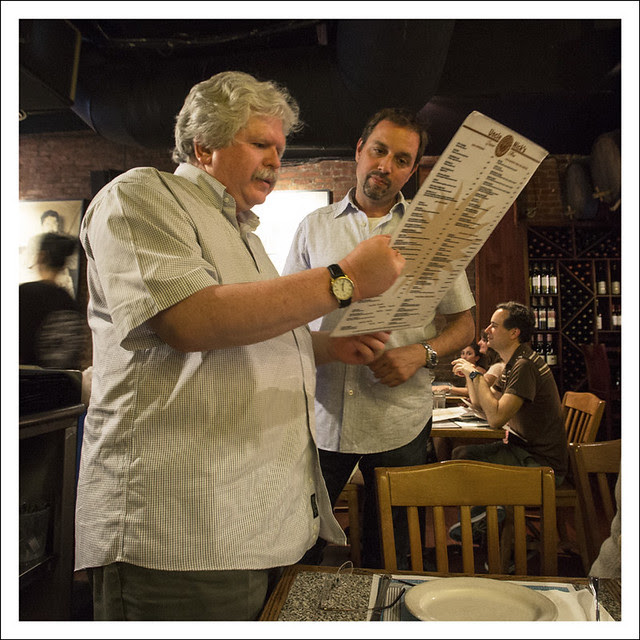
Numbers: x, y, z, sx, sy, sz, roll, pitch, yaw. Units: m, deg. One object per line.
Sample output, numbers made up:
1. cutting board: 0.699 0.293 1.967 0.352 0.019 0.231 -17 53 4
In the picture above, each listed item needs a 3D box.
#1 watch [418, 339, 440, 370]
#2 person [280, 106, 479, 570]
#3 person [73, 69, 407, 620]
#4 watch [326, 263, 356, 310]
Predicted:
1. watch: 0.347 0.100 1.843 0.065 0.094 0.091 8 -9 -34
2. person: 0.197 0.174 1.937 0.676 1.645 0.562 4 10 1
3. person: -0.216 0.018 1.189 0.596 1.107 0.372 -5 8 -26
4. watch: 0.048 -0.074 1.140 0.051 0.078 0.075 -7 22 12
